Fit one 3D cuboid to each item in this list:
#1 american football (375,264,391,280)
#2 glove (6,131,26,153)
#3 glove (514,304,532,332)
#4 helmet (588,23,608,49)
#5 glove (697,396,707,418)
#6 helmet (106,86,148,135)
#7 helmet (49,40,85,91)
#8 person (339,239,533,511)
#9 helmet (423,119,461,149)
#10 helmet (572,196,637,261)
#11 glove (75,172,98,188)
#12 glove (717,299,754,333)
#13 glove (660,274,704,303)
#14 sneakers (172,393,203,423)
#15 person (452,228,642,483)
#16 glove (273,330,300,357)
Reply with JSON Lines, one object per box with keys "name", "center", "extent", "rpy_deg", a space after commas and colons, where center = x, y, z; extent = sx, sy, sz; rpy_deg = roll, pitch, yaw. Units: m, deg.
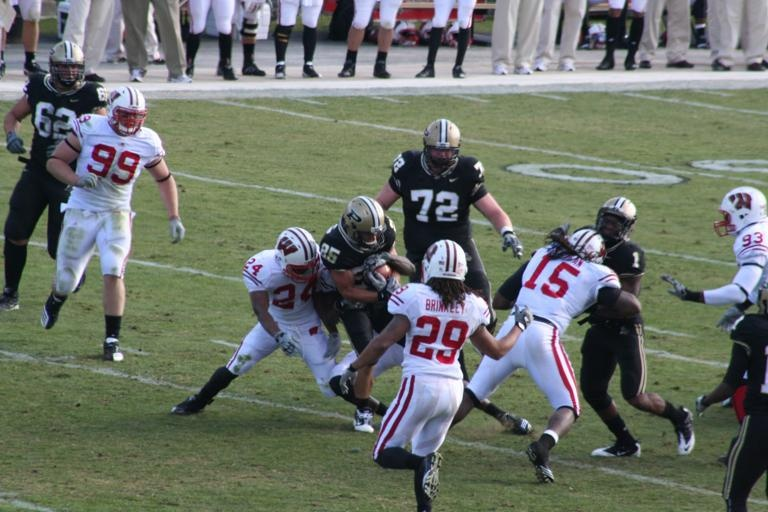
{"name": "american football", "center": [0.002, 0.120, 11.727], "extent": [0.134, 0.115, 0.102], "rpy_deg": [2, -40, 34]}
{"name": "glove", "center": [-3.465, -1.070, 13.223], "extent": [0.171, 0.204, 0.351], "rpy_deg": [5, 5, -15]}
{"name": "glove", "center": [1.109, 0.492, 11.208], "extent": [0.147, 0.182, 0.085], "rpy_deg": [7, -8, -4]}
{"name": "helmet", "center": [3.868, -4.055, 25.516], "extent": [0.452, 0.528, 0.217], "rpy_deg": [5, -6, -4]}
{"name": "glove", "center": [2.656, 1.259, 11.756], "extent": [0.079, 0.216, 0.099], "rpy_deg": [11, -18, 7]}
{"name": "helmet", "center": [-2.288, -1.367, 12.694], "extent": [0.345, 0.353, 0.442], "rpy_deg": [-3, 30, -28]}
{"name": "helmet", "center": [-2.985, -1.790, 13.195], "extent": [0.322, 0.475, 0.256], "rpy_deg": [5, 5, -14]}
{"name": "person", "center": [0.285, 0.864, 11.182], "extent": [1.189, 2.032, 1.116], "rpy_deg": [10, 6, 37]}
{"name": "helmet", "center": [0.499, -1.046, 12.233], "extent": [0.251, 0.234, 0.298], "rpy_deg": [3, -11, -6]}
{"name": "helmet", "center": [1.901, -0.317, 11.876], "extent": [0.336, 0.433, 0.451], "rpy_deg": [28, 7, 12]}
{"name": "glove", "center": [-2.648, -0.665, 12.460], "extent": [0.128, 0.066, 0.170], "rpy_deg": [36, -30, -30]}
{"name": "glove", "center": [2.923, 0.509, 12.096], "extent": [0.381, 0.118, 0.298], "rpy_deg": [-34, -10, 19]}
{"name": "glove", "center": [2.797, 0.311, 13.164], "extent": [0.479, 0.136, 0.129], "rpy_deg": [23, 4, -8]}
{"name": "sneakers", "center": [-1.654, 1.275, 11.793], "extent": [0.224, 0.085, 0.184], "rpy_deg": [-30, -21, 34]}
{"name": "person", "center": [1.356, 0.875, 11.533], "extent": [1.512, 2.050, 1.180], "rpy_deg": [12, -20, 35]}
{"name": "glove", "center": [-0.799, 0.717, 11.597], "extent": [0.209, 0.202, 0.108], "rpy_deg": [5, 5, -4]}
